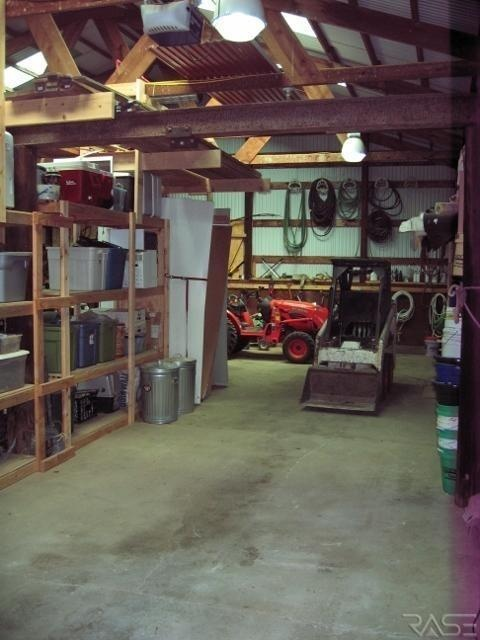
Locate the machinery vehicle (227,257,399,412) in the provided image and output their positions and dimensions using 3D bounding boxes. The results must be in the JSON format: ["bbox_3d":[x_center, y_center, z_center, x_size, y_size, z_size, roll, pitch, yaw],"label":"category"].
[{"bbox_3d":[0.979,-0.062,7.208,1.612,2.088,2.839,4,10,18],"label":"machinery vehicle"}]

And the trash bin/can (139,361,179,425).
[{"bbox_3d":[-0.787,0.669,5.190,0.377,0.597,0.383,-2,8,-16],"label":"trash bin/can"}]

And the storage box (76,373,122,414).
[{"bbox_3d":[-1.357,0.717,5.267,0.453,0.447,0.308,1,2,12],"label":"storage box"}]

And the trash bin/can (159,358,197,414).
[{"bbox_3d":[-0.687,0.645,5.555,0.399,0.626,0.394,-9,20,-24],"label":"trash bin/can"}]
